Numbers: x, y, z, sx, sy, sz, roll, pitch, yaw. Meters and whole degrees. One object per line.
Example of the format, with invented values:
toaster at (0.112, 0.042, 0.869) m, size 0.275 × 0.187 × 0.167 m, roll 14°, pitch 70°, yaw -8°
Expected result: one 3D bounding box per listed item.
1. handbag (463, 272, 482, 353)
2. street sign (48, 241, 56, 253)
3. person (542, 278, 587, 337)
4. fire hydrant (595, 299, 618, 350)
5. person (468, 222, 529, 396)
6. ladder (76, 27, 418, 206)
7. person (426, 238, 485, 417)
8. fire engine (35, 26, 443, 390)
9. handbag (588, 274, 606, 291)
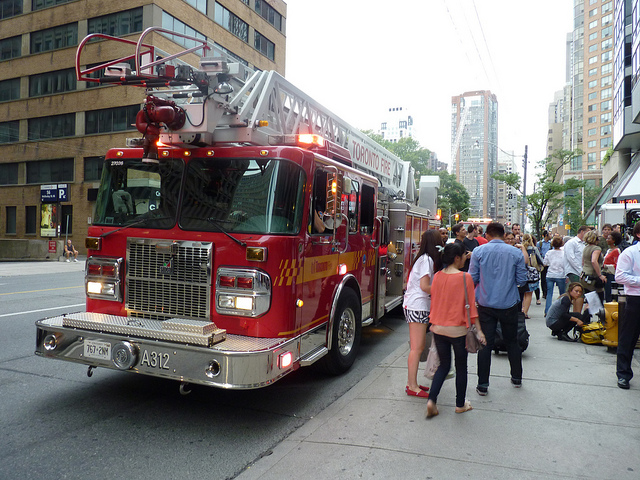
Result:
handbag at (1.898, 0.912, 6.570) m, size 0.165 × 0.942 × 0.337 m, roll -3°, pitch 10°, yaw -12°
street sign at (-17.204, 0.487, 33.538) m, size 0.568 × 0.745 × 0.095 m, roll -7°, pitch -10°, yaw 27°
person at (4.886, 1.413, 10.305) m, size 0.648 × 1.052 × 1.366 m, roll 5°, pitch 11°, yaw 27°
fire hydrant at (5.145, 1.516, 9.185) m, size 0.449 × 0.850 × 0.534 m, roll 1°, pitch -1°, yaw 15°
person at (2.635, 0.945, 7.687) m, size 0.779 × 2.528 × 0.759 m, roll 0°, pitch 8°, yaw 13°
ladder at (-0.418, -1.628, 9.397) m, size 1.704 × 1.895 × 7.788 m, roll 2°, pitch -7°, yaw 34°
person at (1.744, 1.151, 6.714) m, size 0.675 × 2.153 × 0.880 m, roll 2°, pitch 10°, yaw 12°
fire engine at (0.135, -0.336, 11.208) m, size 3.524 × 4.993 × 11.480 m, roll 3°, pitch 1°, yaw 24°
handbag at (5.774, 0.897, 10.798) m, size 0.243 × 0.280 × 0.329 m, roll 4°, pitch 0°, yaw 25°
